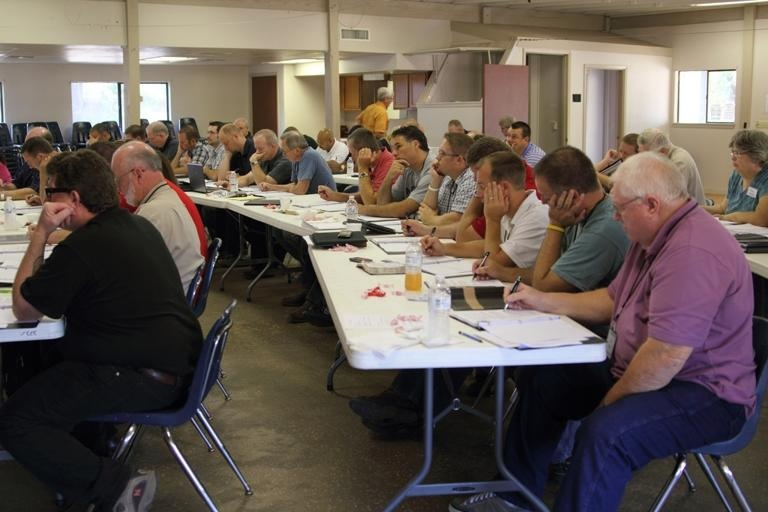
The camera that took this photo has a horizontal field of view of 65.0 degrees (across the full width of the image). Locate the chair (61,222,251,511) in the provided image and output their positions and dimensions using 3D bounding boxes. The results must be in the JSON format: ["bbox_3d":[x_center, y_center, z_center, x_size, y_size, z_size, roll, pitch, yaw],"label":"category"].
[{"bbox_3d":[-0.849,0.535,3.246,1.098,1.596,0.901,4,4,-3],"label":"chair"}]

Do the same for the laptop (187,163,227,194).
[{"bbox_3d":[-1.982,-0.840,6.670,0.296,0.286,0.419,-5,9,-43],"label":"laptop"}]

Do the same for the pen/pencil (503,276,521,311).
[{"bbox_3d":[0.570,0.171,2.675,0.021,0.151,0.018,23,36,5],"label":"pen/pencil"}]

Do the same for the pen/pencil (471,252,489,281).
[{"bbox_3d":[0.500,0.055,3.124,0.022,0.163,0.022,24,-24,20],"label":"pen/pencil"}]

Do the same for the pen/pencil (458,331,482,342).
[{"bbox_3d":[0.329,0.306,2.287,0.010,0.010,0.090,31,-7,-34],"label":"pen/pencil"}]
